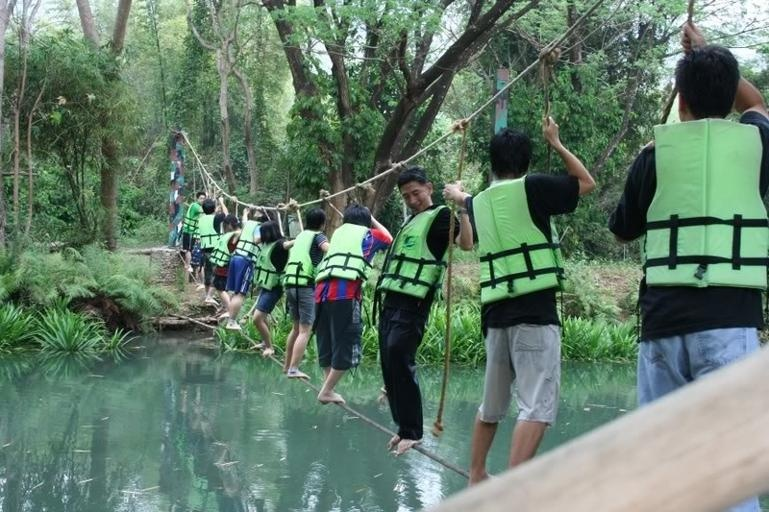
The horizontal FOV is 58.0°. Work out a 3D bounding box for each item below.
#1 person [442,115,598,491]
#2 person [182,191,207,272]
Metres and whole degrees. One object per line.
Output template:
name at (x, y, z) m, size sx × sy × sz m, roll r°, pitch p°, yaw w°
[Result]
person at (1.042, 0.429, 5.335) m, size 0.840 × 2.986 × 1.154 m, roll 1°, pitch 6°, yaw -3°
person at (-4.192, -0.548, 15.516) m, size 0.566 × 1.812 × 0.591 m, roll 0°, pitch 5°, yaw -43°
